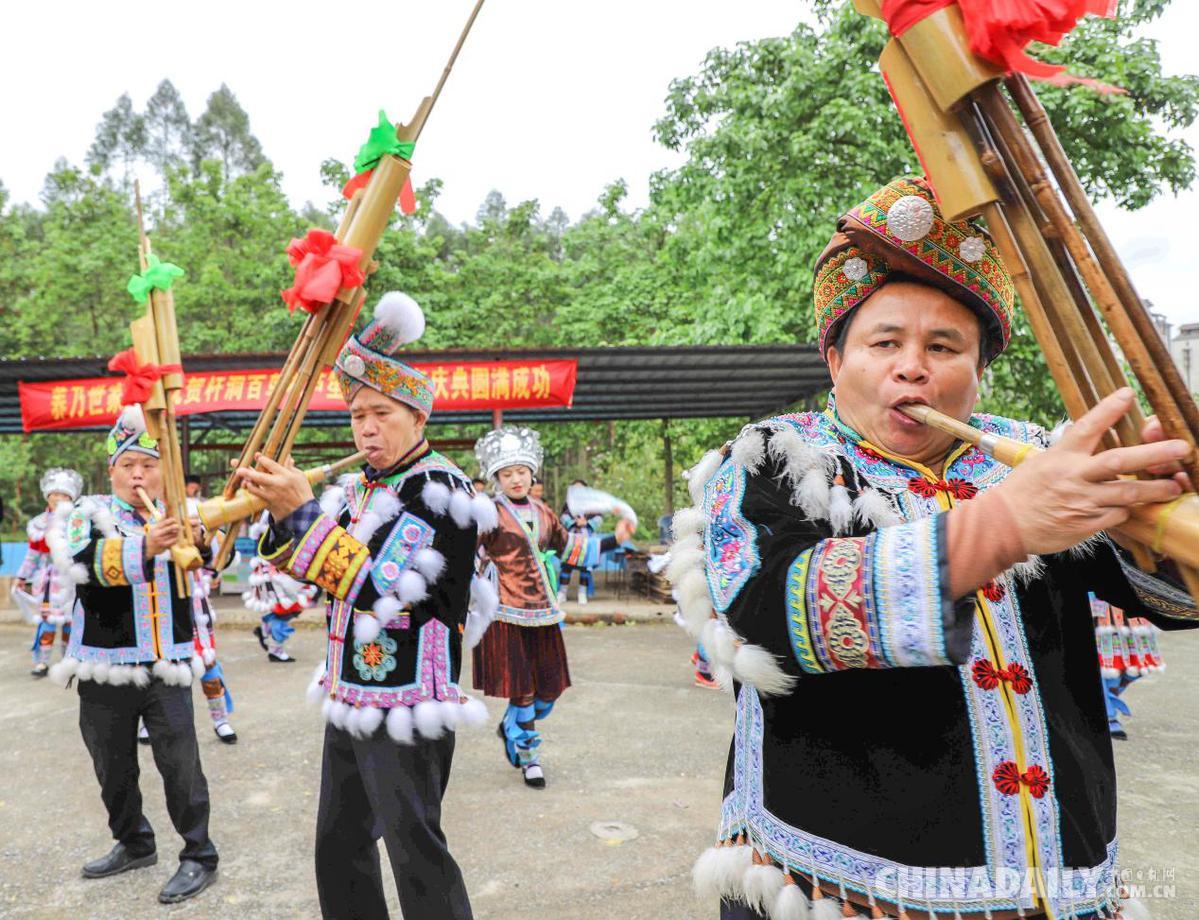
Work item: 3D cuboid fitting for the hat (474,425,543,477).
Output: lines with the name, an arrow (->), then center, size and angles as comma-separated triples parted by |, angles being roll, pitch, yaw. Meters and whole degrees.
hat -> -0.554, -0.079, 6.687 | 0.336, 0.224, 0.352 | -5, -8, -9

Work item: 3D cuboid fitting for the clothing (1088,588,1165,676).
clothing -> 2.883, 0.976, 6.243 | 0.252, 0.464, 0.297 | -16, -11, 24

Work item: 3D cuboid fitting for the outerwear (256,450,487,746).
outerwear -> -0.872, 0.448, 4.164 | 0.920, 0.994, 1.047 | 6, -8, -29

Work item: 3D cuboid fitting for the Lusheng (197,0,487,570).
Lusheng -> -0.705, -0.416, 3.253 | 0.641, 1.378, 1.163 | 1, -5, -44

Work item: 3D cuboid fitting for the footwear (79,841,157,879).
footwear -> -2.038, 1.692, 4.727 | 0.323, 0.111, 0.102 | 4, -7, -34

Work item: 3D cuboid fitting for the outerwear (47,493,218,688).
outerwear -> -2.136, 0.575, 4.989 | 0.669, 0.835, 0.784 | -4, -9, 18

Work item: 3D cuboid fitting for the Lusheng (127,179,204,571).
Lusheng -> -1.483, -0.310, 3.759 | 0.192, 1.357, 0.837 | -1, -4, -21

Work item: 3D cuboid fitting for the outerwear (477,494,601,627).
outerwear -> -0.453, 0.564, 6.277 | 1.335, 0.667, 0.341 | 6, -7, -40

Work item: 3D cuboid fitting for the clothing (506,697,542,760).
clothing -> -0.419, 1.442, 5.878 | 0.201, 0.354, 0.233 | -2, -4, -6

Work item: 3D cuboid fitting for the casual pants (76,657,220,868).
casual pants -> -1.874, 1.292, 4.672 | 0.566, 0.769, 0.297 | -4, -4, 24
